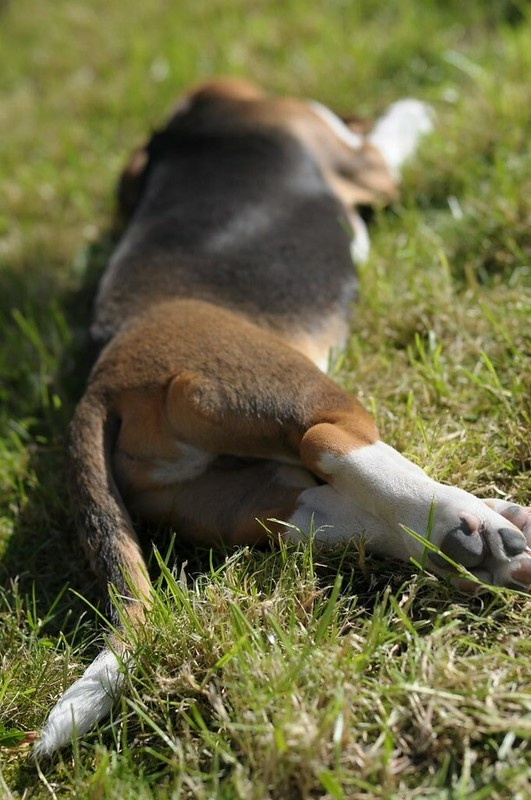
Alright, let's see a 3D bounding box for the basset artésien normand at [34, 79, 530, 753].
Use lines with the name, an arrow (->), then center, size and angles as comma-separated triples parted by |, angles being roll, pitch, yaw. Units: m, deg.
basset artésien normand -> -0.116, -0.167, 2.758 | 1.062, 0.797, 2.300 | 8, 45, -17
